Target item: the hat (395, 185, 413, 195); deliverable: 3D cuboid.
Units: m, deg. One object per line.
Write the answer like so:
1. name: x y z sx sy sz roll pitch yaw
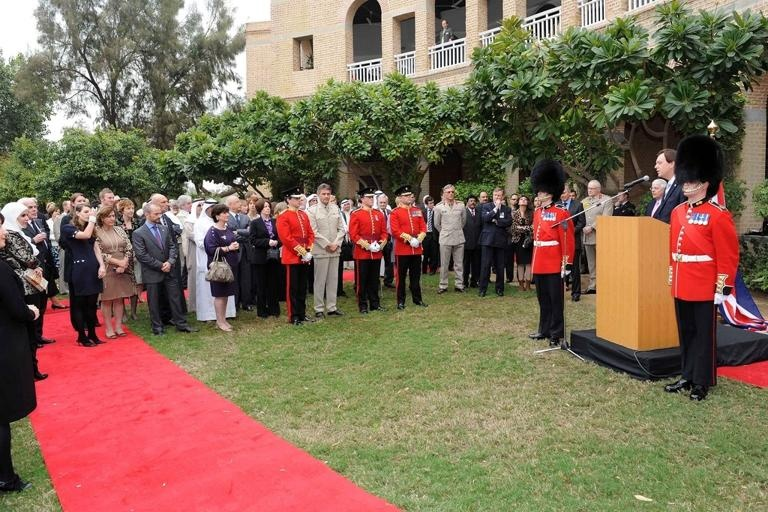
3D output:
1. hat: 0.364 -1.374 13.346 0.264 0.127 0.301 -2 -4 -30

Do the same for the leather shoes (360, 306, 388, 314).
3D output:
1. leather shoes: -0.199 1.056 12.821 0.500 0.214 0.175 -7 -4 20

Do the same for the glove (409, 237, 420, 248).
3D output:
1. glove: 0.602 -0.263 12.961 0.150 0.105 0.197 -3 31 -3

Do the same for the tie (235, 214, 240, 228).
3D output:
1. tie: -2.953 -0.691 13.179 0.045 0.335 0.039 3 -20 -5

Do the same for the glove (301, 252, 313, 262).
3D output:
1. glove: -1.415 0.038 11.936 0.188 0.084 0.144 5 4 31

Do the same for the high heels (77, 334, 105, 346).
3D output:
1. high heels: -4.975 1.410 10.998 0.299 0.123 0.188 -8 -6 33

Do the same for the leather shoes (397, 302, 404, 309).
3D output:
1. leather shoes: 0.324 1.000 12.976 0.109 0.107 0.111 0 -7 9

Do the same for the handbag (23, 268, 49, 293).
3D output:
1. handbag: -5.011 0.365 9.501 0.093 0.349 0.358 -41 -24 2

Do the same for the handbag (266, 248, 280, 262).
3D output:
1. handbag: -2.127 -0.021 12.390 0.254 0.296 0.124 0 -1 -40

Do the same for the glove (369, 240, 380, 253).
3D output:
1. glove: -0.178 -0.177 12.597 0.170 0.094 0.200 3 24 -8

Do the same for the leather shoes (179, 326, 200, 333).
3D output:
1. leather shoes: -3.503 1.322 11.759 0.343 0.138 0.124 -1 0 -5

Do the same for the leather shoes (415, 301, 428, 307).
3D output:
1. leather shoes: 0.761 0.974 13.159 0.279 0.120 0.095 -1 1 3

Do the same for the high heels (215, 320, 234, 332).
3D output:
1. high heels: -2.873 1.267 11.758 0.379 0.160 0.135 -1 1 44

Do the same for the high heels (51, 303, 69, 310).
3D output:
1. high heels: -6.908 1.081 13.902 0.267 0.117 0.089 -10 1 -15
